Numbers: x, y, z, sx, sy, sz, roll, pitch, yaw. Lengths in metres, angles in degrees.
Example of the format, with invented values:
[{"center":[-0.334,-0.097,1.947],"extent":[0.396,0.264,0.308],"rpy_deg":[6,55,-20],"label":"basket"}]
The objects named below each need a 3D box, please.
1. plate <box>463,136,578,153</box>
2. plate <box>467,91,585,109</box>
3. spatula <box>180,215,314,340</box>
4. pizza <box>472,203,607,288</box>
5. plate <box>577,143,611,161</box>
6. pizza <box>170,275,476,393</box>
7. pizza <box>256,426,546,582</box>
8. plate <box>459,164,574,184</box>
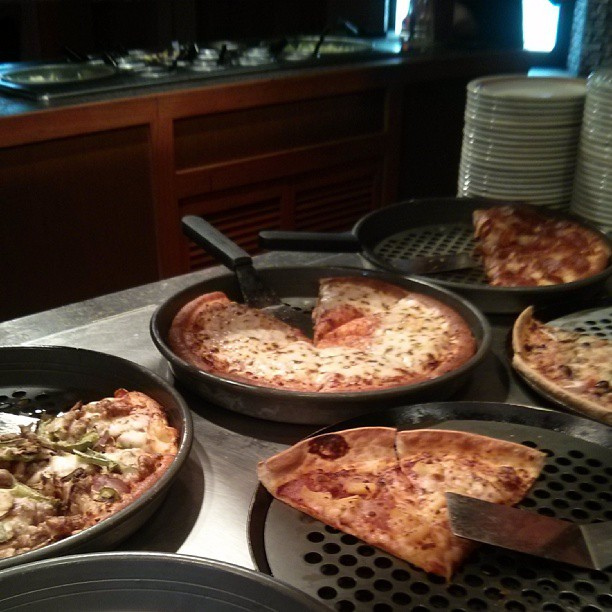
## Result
[{"center":[0.431,-0.342,1.248],"extent":[0.199,0.034,0.226],"rpy_deg":[16,22,42],"label":"plate"},{"center":[0.422,-0.401,1.162],"extent":[0.224,0.028,0.083],"rpy_deg":[6,21,17],"label":"plate"},{"center":[-0.119,-0.044,0.896],"extent":[0.277,0.036,0.101],"rpy_deg":[37,46,13],"label":"spatula"},{"center":[0.409,-0.111,1.055],"extent":[0.205,0.100,0.270],"rpy_deg":[0,20,1],"label":"pizza"},{"center":[0.529,-0.281,1.102],"extent":[0.051,0.009,0.045],"rpy_deg":[11,23,15],"label":"plate"},{"center":[0.030,0.050,0.749],"extent":[0.234,0.023,0.190],"rpy_deg":[-7,18,-27],"label":"pizza"},{"center":[0.096,0.160,0.506],"extent":[0.256,0.024,0.163],"rpy_deg":[-1,22,-7],"label":"pizza"},{"center":[0.432,-0.263,1.187],"extent":[0.177,0.028,0.186],"rpy_deg":[7,14,20],"label":"plate"}]
